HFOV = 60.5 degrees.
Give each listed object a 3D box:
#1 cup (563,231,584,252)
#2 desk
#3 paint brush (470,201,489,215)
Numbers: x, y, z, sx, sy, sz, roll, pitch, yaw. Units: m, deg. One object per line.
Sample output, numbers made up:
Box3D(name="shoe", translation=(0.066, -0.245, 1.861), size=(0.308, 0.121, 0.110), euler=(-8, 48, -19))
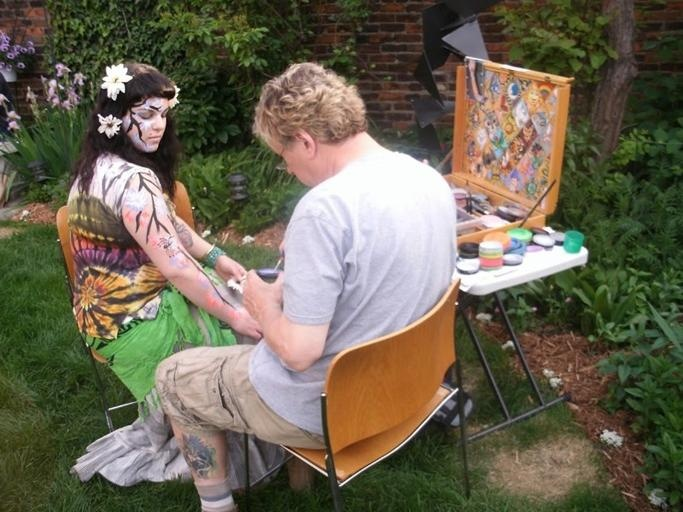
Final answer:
Box3D(name="cup", translation=(1.291, -0.093, 3.270), size=(0.093, 0.107, 0.110), euler=(-1, 23, 2))
Box3D(name="desk", translation=(1.087, 0.529, 3.541), size=(0.697, 0.767, 0.669), euler=(-24, 20, -3))
Box3D(name="paint brush", translation=(0.864, -0.298, 3.683), size=(0.059, 0.042, 0.107), euler=(-32, 37, -17))
